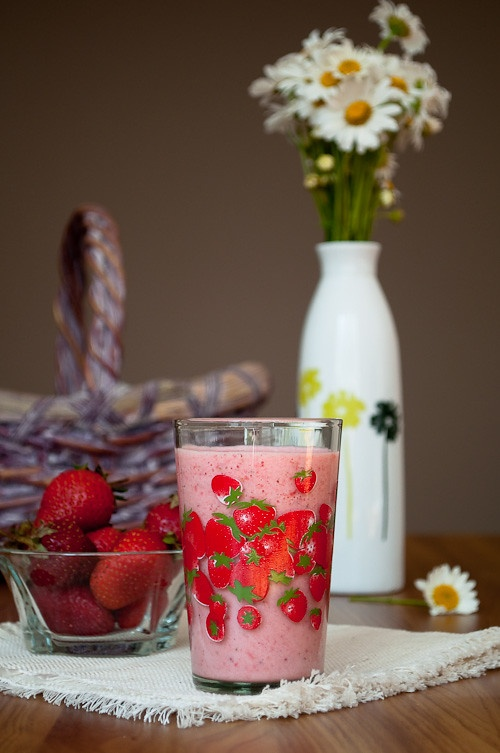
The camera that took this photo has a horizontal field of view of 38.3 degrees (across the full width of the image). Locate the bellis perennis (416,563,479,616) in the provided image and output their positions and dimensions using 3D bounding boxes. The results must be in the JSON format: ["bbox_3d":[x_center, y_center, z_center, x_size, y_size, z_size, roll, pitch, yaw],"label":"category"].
[{"bbox_3d":[0.156,0.171,0.569,0.045,0.041,0.015,10,-41,-19],"label":"bellis perennis"}]
